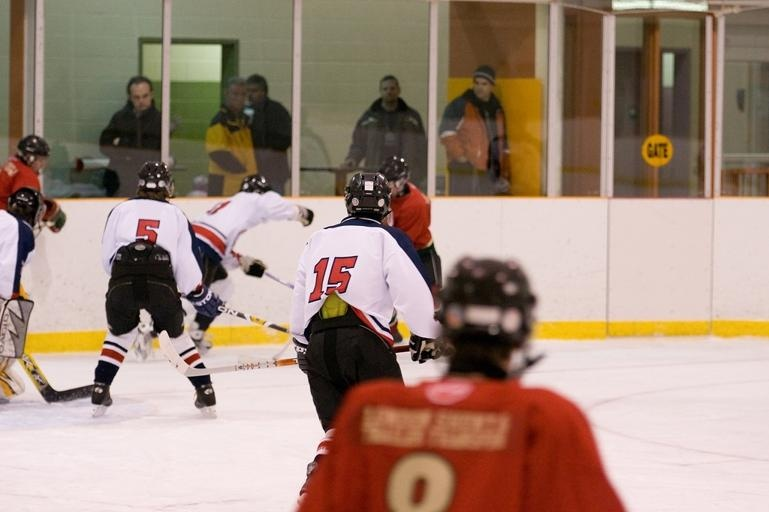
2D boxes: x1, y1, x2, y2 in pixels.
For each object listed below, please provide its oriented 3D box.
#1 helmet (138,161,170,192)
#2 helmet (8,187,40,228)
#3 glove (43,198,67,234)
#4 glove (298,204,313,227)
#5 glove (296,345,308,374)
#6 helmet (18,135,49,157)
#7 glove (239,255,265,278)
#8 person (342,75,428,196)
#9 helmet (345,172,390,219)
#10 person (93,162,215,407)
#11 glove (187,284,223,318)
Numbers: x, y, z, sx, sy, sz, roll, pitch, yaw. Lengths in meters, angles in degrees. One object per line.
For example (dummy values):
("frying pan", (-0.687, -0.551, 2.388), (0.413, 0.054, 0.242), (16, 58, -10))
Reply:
("helmet", (-1.712, -0.591, 8.733), (0.193, 0.232, 0.213), (3, 5, -5))
("helmet", (-2.744, -0.392, 8.996), (0.217, 0.269, 0.292), (10, 3, 2))
("glove", (-2.956, -0.394, 10.518), (0.242, 0.110, 0.301), (20, 30, -26))
("glove", (-0.735, -0.371, 10.859), (0.084, 0.102, 0.244), (-3, -35, 6))
("glove", (-0.523, 0.628, 7.225), (0.089, 0.140, 0.109), (-5, -18, 8))
("helmet", (-3.032, -0.948, 10.148), (0.228, 0.200, 0.176), (-4, 33, -12))
("glove", (-1.196, 0.090, 10.501), (0.224, 0.077, 0.158), (22, -9, -38))
("person", (0.014, -1.016, 11.640), (0.871, 1.709, 0.479), (-1, 48, -1))
("helmet", (-0.100, -0.381, 7.321), (0.287, 0.305, 0.339), (2, 8, -4))
("person", (-1.741, 0.236, 8.776), (0.891, 1.878, 0.333), (-1, 4, -9))
("glove", (-1.366, 0.360, 9.011), (0.317, 0.179, 0.102), (32, -44, -28))
